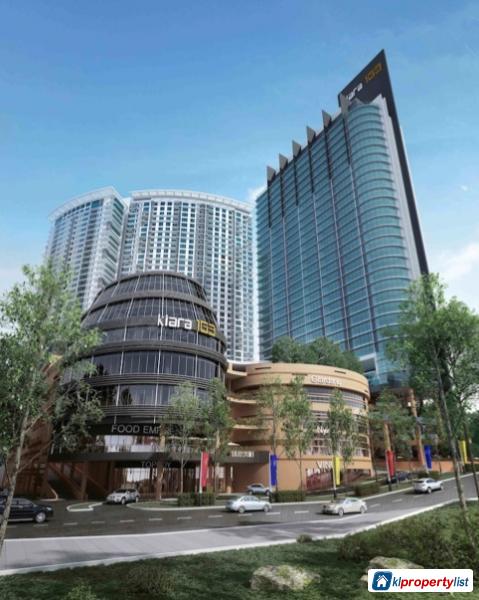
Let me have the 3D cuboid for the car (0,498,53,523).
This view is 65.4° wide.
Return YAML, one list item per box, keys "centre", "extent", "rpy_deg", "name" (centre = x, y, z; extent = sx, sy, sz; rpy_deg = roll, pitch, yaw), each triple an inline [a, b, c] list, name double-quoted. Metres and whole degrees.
- centre: [-13.287, 13.264, 24.080]
  extent: [2.368, 1.654, 2.353]
  rpy_deg: [7, -22, -25]
  name: "car"

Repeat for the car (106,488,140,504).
- centre: [-11.402, 19.241, 37.224]
  extent: [1.669, 1.266, 2.778]
  rpy_deg: [-18, -25, 37]
  name: "car"

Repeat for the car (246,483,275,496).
- centre: [2.348, 23.432, 46.818]
  extent: [2.702, 1.088, 3.058]
  rpy_deg: [-9, -20, 18]
  name: "car"

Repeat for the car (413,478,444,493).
- centre: [22.155, 21.770, 44.567]
  extent: [3.947, 1.396, 1.585]
  rpy_deg: [12, -24, -35]
  name: "car"
